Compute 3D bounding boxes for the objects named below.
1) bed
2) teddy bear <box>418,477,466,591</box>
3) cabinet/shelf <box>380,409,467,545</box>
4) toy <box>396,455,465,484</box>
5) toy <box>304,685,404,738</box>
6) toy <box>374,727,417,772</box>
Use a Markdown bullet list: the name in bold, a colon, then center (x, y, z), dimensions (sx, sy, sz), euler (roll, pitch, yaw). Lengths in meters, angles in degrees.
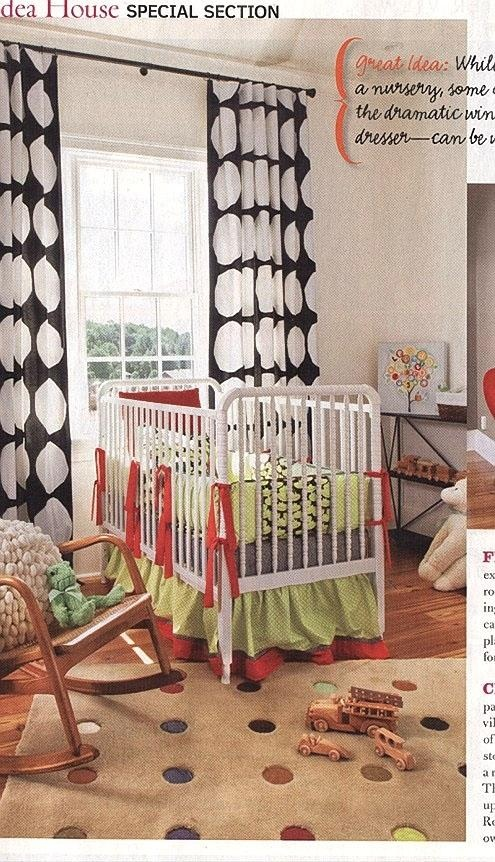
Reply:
- **bed**: center (-0.025, 0.255, 2.627), dimensions (0.702, 0.956, 1.216), euler (-3, 5, -21)
- **teddy bear**: center (0.863, 0.456, 2.990), dimensions (0.187, 0.442, 0.268), euler (1, 4, 15)
- **cabinet/shelf**: center (0.878, 0.220, 3.303), dimensions (0.171, 0.574, 0.590), euler (-4, 8, -26)
- **toy**: center (0.897, 0.186, 3.390), dimensions (0.102, 0.130, 0.374), euler (-11, 16, -42)
- **toy**: center (0.269, 0.697, 1.745), dimensions (0.188, 0.102, 0.127), euler (-1, 3, 9)
- **toy**: center (0.356, 0.744, 1.604), dimensions (0.045, 0.058, 0.088), euler (-2, 4, -27)
